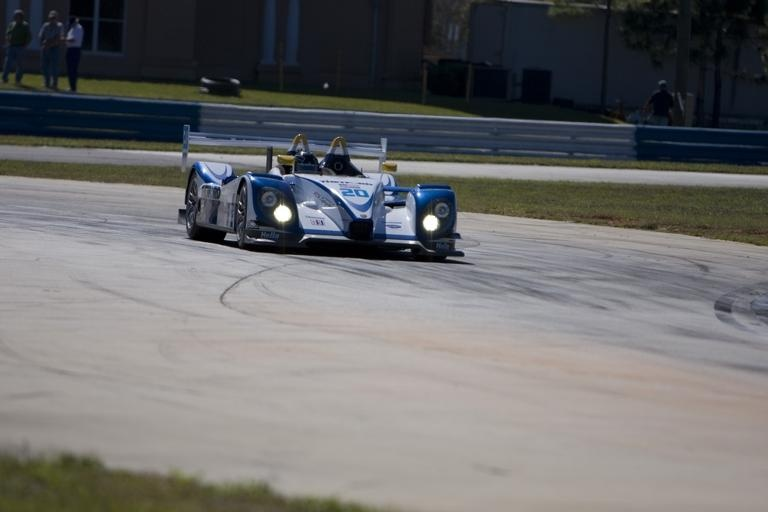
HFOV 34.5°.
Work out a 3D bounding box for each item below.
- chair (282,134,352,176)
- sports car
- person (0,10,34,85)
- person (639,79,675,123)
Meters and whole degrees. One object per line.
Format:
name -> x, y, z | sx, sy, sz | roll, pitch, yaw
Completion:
chair -> -0.943, -1.429, 17.716 | 0.524, 0.467, 0.965 | 2, 2, -11
sports car -> -0.861, -0.802, 16.931 | 3.649, 1.490, 2.115 | 2, 10, -10
person -> -9.063, -5.104, 30.385 | 0.637, 1.782, 1.286 | 0, 10, -19
person -> 7.054, -3.904, 31.569 | 0.737, 1.085, 1.099 | 5, 10, 12
